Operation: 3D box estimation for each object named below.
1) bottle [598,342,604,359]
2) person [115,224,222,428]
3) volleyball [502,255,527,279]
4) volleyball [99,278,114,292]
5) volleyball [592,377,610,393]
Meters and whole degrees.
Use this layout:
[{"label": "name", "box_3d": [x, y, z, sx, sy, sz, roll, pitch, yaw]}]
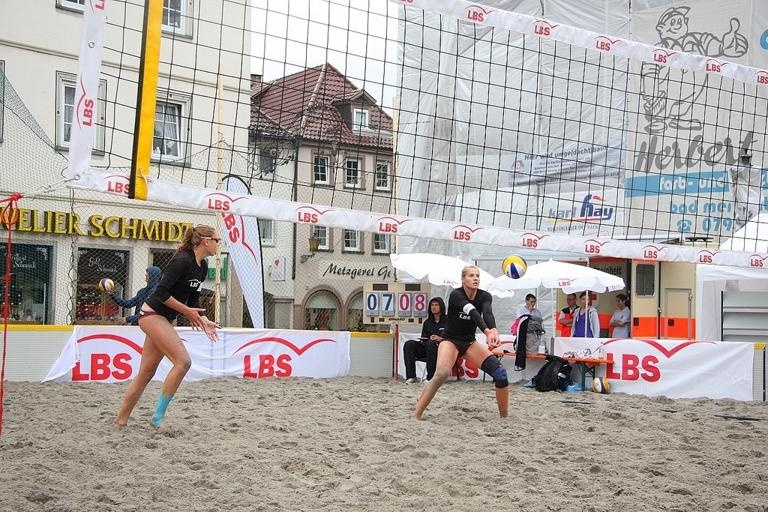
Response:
[{"label": "bottle", "box_3d": [3.735, 1.600, 16.070, 0.108, 0.252, 0.063, 3, 10, 15]}, {"label": "person", "box_3d": [-2.756, 0.895, 12.022, 1.248, 2.561, 0.674, -1, 9, -10]}, {"label": "volleyball", "box_3d": [2.390, 0.216, 17.026, 0.384, 0.428, 0.420, 16, -46, -5]}, {"label": "volleyball", "box_3d": [-4.743, 0.491, 15.978, 0.169, 0.181, 0.171, 24, 55, 42]}, {"label": "volleyball", "box_3d": [3.637, 2.169, 15.688, 0.217, 0.270, 0.245, 10, -16, -16]}]
